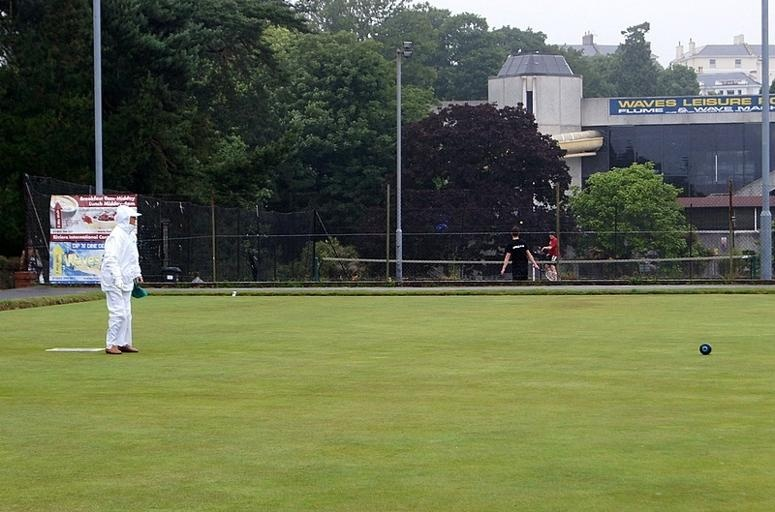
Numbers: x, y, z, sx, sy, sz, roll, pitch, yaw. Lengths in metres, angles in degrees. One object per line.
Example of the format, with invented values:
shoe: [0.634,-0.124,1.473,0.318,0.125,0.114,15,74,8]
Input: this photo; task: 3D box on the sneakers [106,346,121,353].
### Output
sneakers: [-7.759,2.708,41.686,0.441,0.166,0.176,-7,-2,36]

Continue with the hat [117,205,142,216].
hat: [-7.614,-1.293,42.834,0.864,0.270,0.551,2,5,-7]

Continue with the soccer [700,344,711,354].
soccer: [8.934,2.643,41.379,0.298,0.271,0.294,-3,-5,15]

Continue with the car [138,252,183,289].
car: [-9.546,0.630,61.643,1.601,2.062,1.505,1,2,1]

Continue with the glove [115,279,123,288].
glove: [-7.680,0.807,42.123,0.245,0.222,0.146,-2,1,-29]
